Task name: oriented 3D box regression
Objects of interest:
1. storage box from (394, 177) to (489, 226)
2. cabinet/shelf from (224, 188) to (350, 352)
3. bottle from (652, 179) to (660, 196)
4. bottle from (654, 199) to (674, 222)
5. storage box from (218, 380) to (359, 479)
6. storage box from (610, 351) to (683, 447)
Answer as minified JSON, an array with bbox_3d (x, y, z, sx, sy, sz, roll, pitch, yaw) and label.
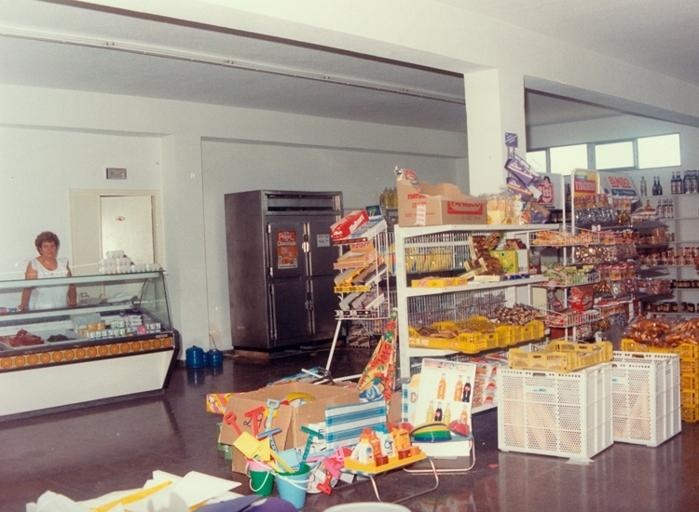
[{"bbox_3d":[0.919,-0.503,5.509,0.515,0.399,0.736,1,3,44],"label":"storage box"},{"bbox_3d":[-1.137,0.242,9.695,1.823,2.715,0.756,-4,4,-26],"label":"cabinet/shelf"},{"bbox_3d":[6.292,-1.405,11.331,0.149,0.372,0.268,-2,4,24],"label":"bottle"},{"bbox_3d":[6.341,-0.923,11.083,0.288,0.445,0.311,-3,3,0],"label":"bottle"},{"bbox_3d":[-0.507,1.277,4.635,0.857,0.524,0.875,-1,0,42],"label":"storage box"},{"bbox_3d":[2.584,1.129,5.097,0.702,0.825,0.951,1,2,39],"label":"storage box"}]
